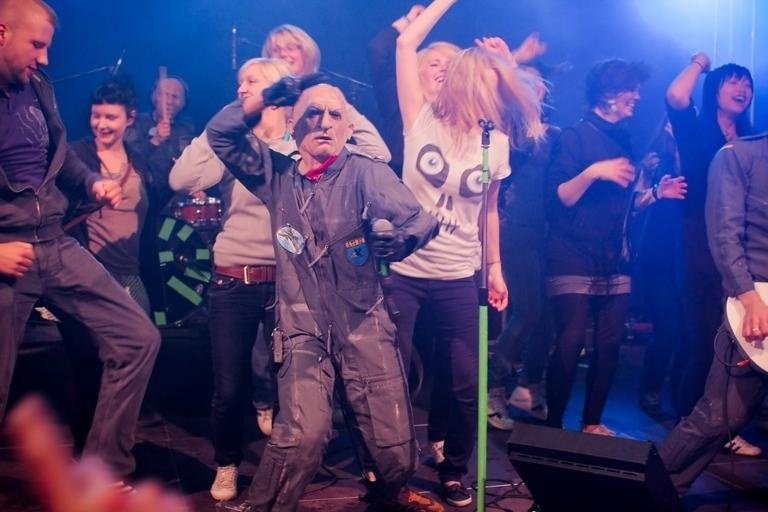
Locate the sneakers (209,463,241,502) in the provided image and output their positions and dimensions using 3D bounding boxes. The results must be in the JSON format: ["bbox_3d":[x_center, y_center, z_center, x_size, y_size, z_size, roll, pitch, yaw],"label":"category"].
[{"bbox_3d":[-1.010,1.421,4.158,0.183,0.202,0.146,-2,6,-21],"label":"sneakers"}]

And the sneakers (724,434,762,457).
[{"bbox_3d":[2.613,1.354,4.728,0.177,0.107,0.288,3,6,30],"label":"sneakers"}]

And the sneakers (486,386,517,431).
[{"bbox_3d":[0.910,1.197,5.167,0.202,0.291,0.216,-1,5,-5],"label":"sneakers"}]

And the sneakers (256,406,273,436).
[{"bbox_3d":[-0.895,1.221,4.924,0.113,0.206,0.240,-1,5,-12],"label":"sneakers"}]

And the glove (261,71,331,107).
[{"bbox_3d":[-0.513,-0.940,3.695,0.279,0.098,0.198,-19,1,14],"label":"glove"}]

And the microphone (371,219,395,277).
[{"bbox_3d":[-0.003,-0.046,3.699,0.108,0.262,0.196,-3,3,-42],"label":"microphone"}]

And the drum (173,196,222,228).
[{"bbox_3d":[-1.616,-0.383,5.673,0.355,0.133,0.350,2,1,0],"label":"drum"}]

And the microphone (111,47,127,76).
[{"bbox_3d":[-2.038,-1.518,5.147,0.072,0.235,0.071,27,-16,-8],"label":"microphone"}]

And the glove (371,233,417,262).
[{"bbox_3d":[0.055,-0.059,3.641,0.254,0.169,0.102,0,5,-3],"label":"glove"}]

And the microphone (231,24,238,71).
[{"bbox_3d":[-1.202,-1.675,5.278,0.057,0.321,0.167,-2,6,-15],"label":"microphone"}]
